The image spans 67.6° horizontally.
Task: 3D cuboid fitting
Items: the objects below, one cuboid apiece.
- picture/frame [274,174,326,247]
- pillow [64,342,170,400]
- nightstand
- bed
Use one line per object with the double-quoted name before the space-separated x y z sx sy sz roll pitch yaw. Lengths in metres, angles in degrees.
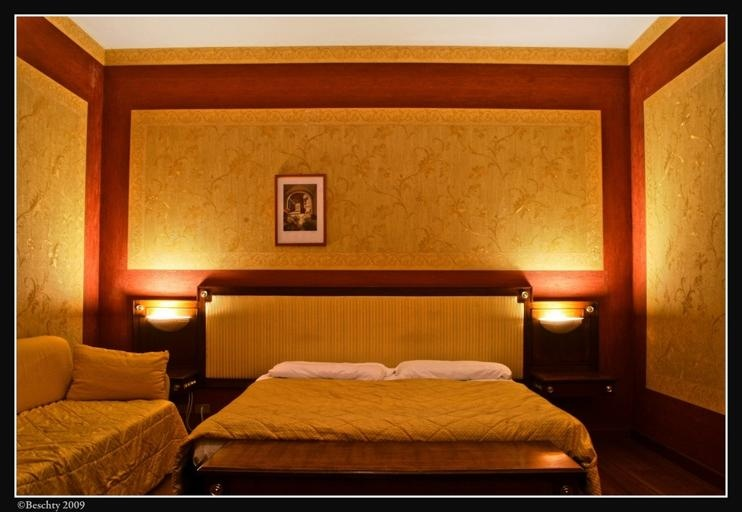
"picture/frame" -0.645 -0.423 5.229 0.688 0.901 0.034 -1 -3 -2
"pillow" -2.065 0.947 4.489 0.616 0.377 0.185 1 -29 -5
"nightstand" 1.867 1.349 5.040 0.686 0.595 0.528 -4 3 9
"bed" 0.212 1.265 3.956 2.577 0.632 1.154 -2 -5 7
